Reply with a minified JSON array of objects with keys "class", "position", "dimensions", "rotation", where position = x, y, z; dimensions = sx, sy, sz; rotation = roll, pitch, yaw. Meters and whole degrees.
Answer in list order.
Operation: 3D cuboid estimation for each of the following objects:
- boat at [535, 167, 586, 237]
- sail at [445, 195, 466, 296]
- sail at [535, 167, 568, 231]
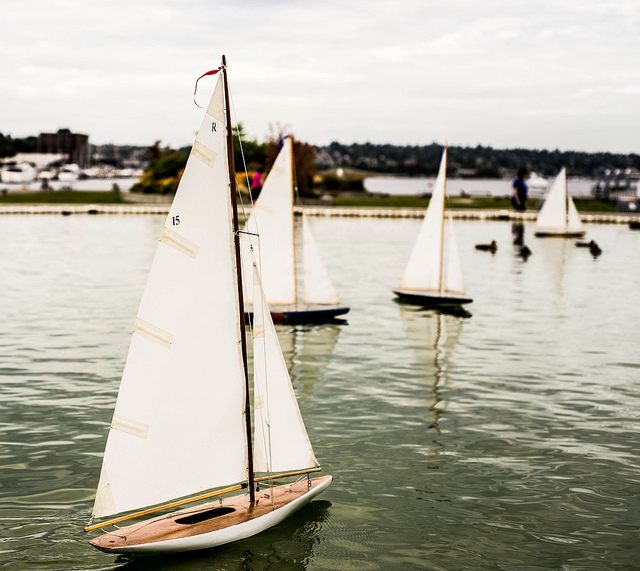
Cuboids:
[{"class":"boat","position":[19.169,-6.620,99.682],"dimensions":[3.520,5.495,3.980],"rotation":[5,10,22]},{"class":"sail","position":[5.918,-1.972,55.774],"dimensions":[0.265,5.583,1.562],"rotation":[-9,9,-38]},{"class":"sail","position":[18.561,-6.870,99.559],"dimensions":[2.482,5.184,3.258],"rotation":[2,9,9]}]
